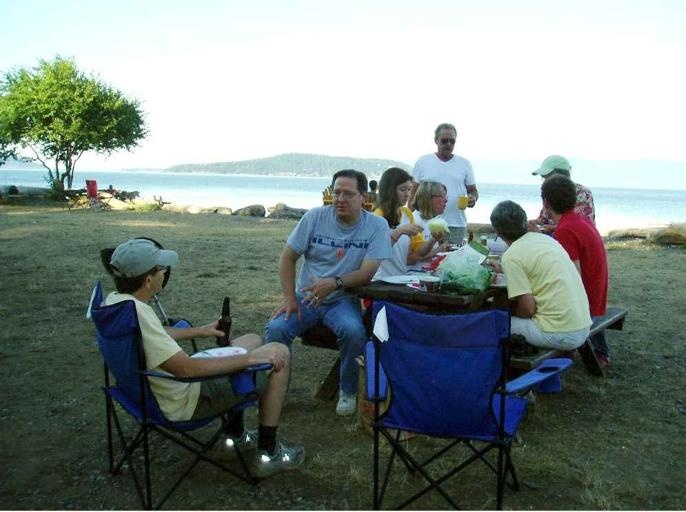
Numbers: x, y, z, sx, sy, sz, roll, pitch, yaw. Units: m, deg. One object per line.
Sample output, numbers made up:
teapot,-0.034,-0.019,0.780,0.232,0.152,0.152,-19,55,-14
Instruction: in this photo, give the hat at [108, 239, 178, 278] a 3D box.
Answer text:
hat,-1.271,0.026,3.655,0.377,0.202,0.245,-17,44,-21

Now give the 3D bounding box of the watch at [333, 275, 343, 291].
watch,-0.030,0.226,4.662,0.075,0.095,0.107,1,31,-17

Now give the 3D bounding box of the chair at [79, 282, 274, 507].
chair,-1.170,0.724,4.342,1.430,1.818,1.512,-5,7,-32

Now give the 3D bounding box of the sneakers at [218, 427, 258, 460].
sneakers,-0.736,1.369,4.174,0.144,0.155,0.363,5,11,28

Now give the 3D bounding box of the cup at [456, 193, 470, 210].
cup,1.443,-0.636,6.594,0.184,0.148,0.173,-1,10,0

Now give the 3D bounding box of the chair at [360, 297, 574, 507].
chair,0.755,0.814,3.968,1.570,1.473,1.297,1,3,17

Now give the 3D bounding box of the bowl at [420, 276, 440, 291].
bowl,0.690,0.231,4.452,0.160,0.092,0.093,2,8,16

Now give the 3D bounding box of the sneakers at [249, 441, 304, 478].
sneakers,-0.454,1.407,3.958,0.367,0.162,0.172,-8,13,-38

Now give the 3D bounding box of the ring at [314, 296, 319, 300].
ring,-0.216,0.355,4.686,0.038,0.054,0.079,-1,8,-4
